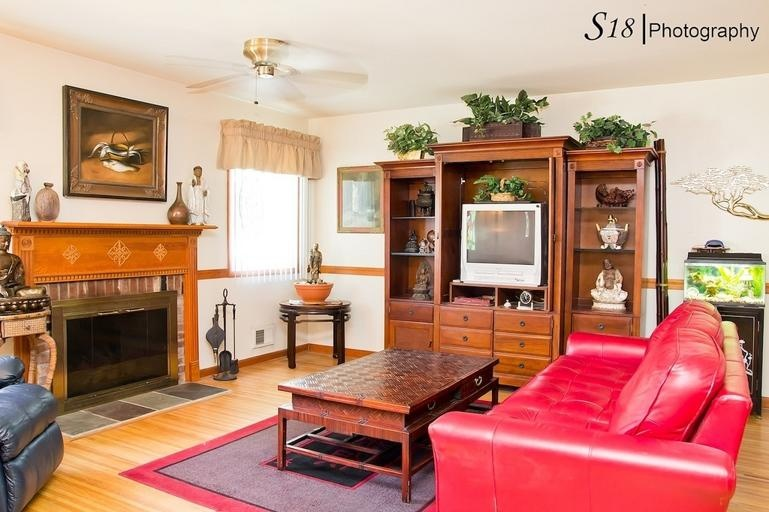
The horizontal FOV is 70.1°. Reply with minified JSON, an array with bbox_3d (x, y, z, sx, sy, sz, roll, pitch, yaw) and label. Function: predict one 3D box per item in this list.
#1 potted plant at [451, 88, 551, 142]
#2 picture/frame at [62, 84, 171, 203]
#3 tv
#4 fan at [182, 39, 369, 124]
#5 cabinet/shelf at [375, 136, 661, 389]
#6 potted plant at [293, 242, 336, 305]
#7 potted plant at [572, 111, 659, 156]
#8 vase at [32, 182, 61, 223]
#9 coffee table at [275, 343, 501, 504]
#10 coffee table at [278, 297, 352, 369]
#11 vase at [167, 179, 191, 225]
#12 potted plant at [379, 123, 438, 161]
[{"bbox_3d":[1.321,-1.478,5.788,1.003,0.418,0.723,6,20,34],"label":"potted plant"},{"bbox_3d":[-2.625,-1.083,5.256,0.061,1.260,1.384,0,-1,42],"label":"picture/frame"},{"bbox_3d":[1.391,-0.127,5.985,0.650,0.863,1.026,-2,5,-42],"label":"tv"},{"bbox_3d":[-1.063,-1.836,5.667,1.701,0.343,1.949,-2,9,-20],"label":"fan"},{"bbox_3d":[1.452,0.050,5.528,3.148,2.607,0.788,0,0,24],"label":"cabinet/shelf"},{"bbox_3d":[-0.851,0.192,6.630,0.480,0.625,0.438,-2,6,-14],"label":"potted plant"},{"bbox_3d":[2.390,-1.225,5.584,0.636,0.269,0.715,-2,2,-13],"label":"potted plant"},{"bbox_3d":[-2.970,-0.480,4.833,0.217,0.336,0.252,-8,13,-41],"label":"vase"},{"bbox_3d":[-0.123,1.107,4.039,0.959,0.443,1.345,0,2,29],"label":"coffee table"},{"bbox_3d":[-0.861,0.878,6.640,0.919,0.695,0.832,0,-2,-13],"label":"coffee table"},{"bbox_3d":[-2.159,-0.545,5.684,0.191,0.434,0.216,4,10,21],"label":"vase"},{"bbox_3d":[0.318,-1.283,6.390,0.585,0.327,0.609,0,3,-43],"label":"potted plant"}]
